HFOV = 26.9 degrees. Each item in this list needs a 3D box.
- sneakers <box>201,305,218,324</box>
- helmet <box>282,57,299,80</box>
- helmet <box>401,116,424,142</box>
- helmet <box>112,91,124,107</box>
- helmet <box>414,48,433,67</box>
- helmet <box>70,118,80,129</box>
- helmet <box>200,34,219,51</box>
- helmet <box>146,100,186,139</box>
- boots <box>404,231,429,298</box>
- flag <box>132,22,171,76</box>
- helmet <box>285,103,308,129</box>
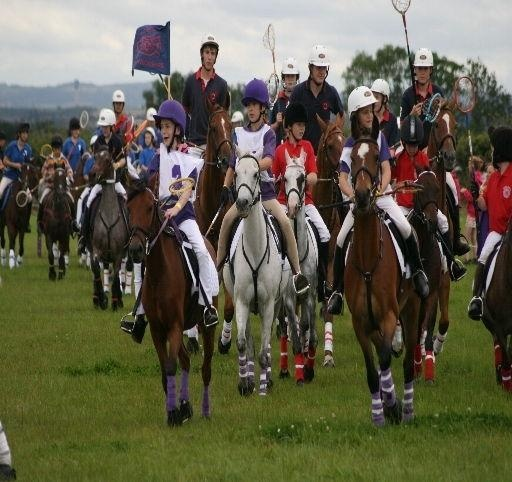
[{"bbox_3d":[-0.617,0.977,14.337,0.194,0.282,0.399,-1,5,-4],"label":"sneakers"},{"bbox_3d":[0.700,-3.593,22.008,0.360,0.351,0.307,-2,5,-13],"label":"helmet"},{"bbox_3d":[2.278,-1.645,15.596,0.230,0.418,0.390,1,-1,3],"label":"helmet"},{"bbox_3d":[-3.465,-3.628,26.900,0.256,0.412,0.416,0,-4,-6],"label":"helmet"},{"bbox_3d":[2.950,-3.253,18.901,0.322,0.318,0.435,0,5,6],"label":"helmet"},{"bbox_3d":[-5.150,-3.364,30.338,0.221,0.384,0.360,0,-26,-5],"label":"helmet"},{"bbox_3d":[-0.852,-3.598,19.445,0.295,0.241,0.494,-1,6,-5],"label":"helmet"},{"bbox_3d":[-1.227,-1.710,14.858,0.315,0.597,0.449,2,-6,33],"label":"helmet"},{"bbox_3d":[2.152,0.358,14.551,0.198,1.143,0.261,-12,-20,13],"label":"boots"},{"bbox_3d":[-1.998,-3.675,20.377,0.685,0.982,0.578,-1,4,-11],"label":"flag"},{"bbox_3d":[0.634,-1.979,16.724,0.227,0.375,0.350,-2,-3,-20],"label":"helmet"}]
